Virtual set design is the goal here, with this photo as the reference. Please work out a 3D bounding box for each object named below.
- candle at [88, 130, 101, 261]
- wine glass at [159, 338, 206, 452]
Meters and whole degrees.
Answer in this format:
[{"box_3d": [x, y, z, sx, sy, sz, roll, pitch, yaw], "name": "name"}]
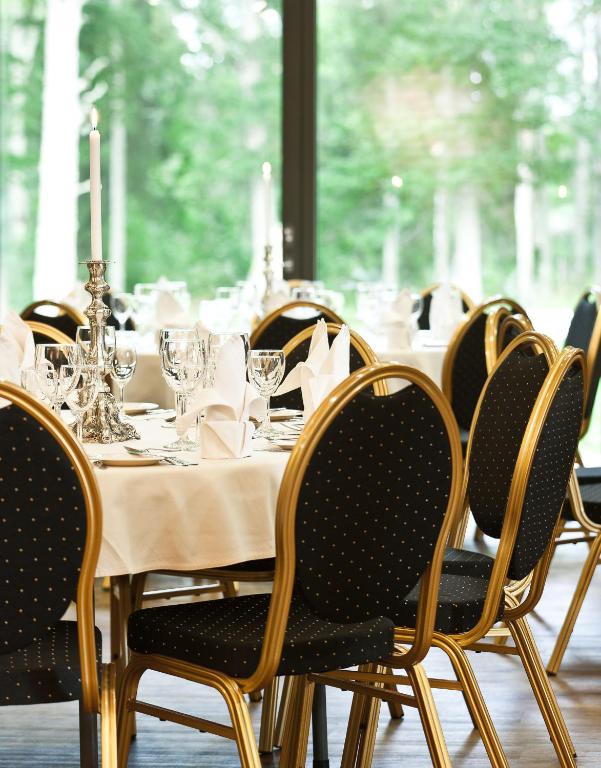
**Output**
[{"box_3d": [-0.384, -0.344, 1.566, 0.024, 0.251, 0.024, 0, 5, -3], "name": "candle"}, {"box_3d": [-0.234, 0.013, 1.661, 0.090, 0.230, 0.357, 1, 10, -9], "name": "wine glass"}]
